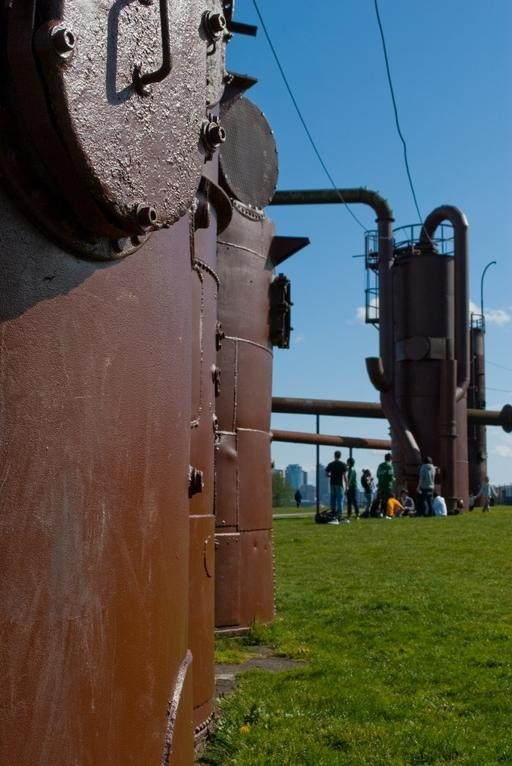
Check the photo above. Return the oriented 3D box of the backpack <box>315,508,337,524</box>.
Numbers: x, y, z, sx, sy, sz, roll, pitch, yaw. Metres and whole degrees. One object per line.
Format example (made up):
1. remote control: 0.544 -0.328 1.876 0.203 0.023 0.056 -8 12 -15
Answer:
1. backpack: 1.335 2.536 19.934 0.348 0.408 0.579 0 -16 3
